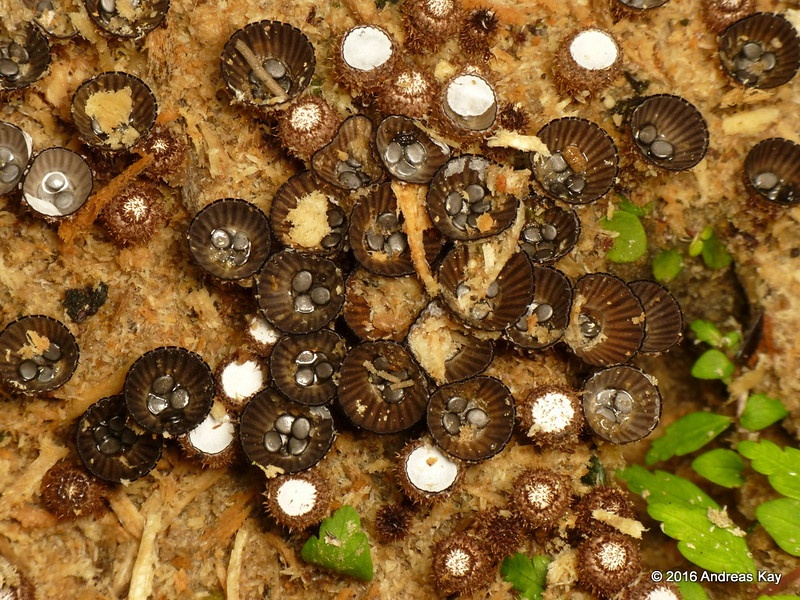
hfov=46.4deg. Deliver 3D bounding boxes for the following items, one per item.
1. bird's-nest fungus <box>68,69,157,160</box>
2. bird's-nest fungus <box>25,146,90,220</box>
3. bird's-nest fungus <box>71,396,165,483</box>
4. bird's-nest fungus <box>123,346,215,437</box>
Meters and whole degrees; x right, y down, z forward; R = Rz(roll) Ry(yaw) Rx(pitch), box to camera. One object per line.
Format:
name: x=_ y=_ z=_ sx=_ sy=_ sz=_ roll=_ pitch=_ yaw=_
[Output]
bird's-nest fungus: x=-2.478 y=-1.620 z=8.018 sx=0.547 sy=0.760 sz=0.647 roll=23 pitch=37 yaw=38
bird's-nest fungus: x=-2.913 y=-0.992 z=7.929 sx=0.526 sy=0.597 sz=0.190 roll=26 pitch=-3 yaw=-15
bird's-nest fungus: x=-2.374 y=1.168 z=7.858 sx=0.526 sy=0.444 sz=0.643 roll=-16 pitch=27 yaw=-30
bird's-nest fungus: x=-1.957 y=0.804 z=7.881 sx=0.713 sy=0.796 sz=0.270 roll=-5 pitch=-4 yaw=-6
